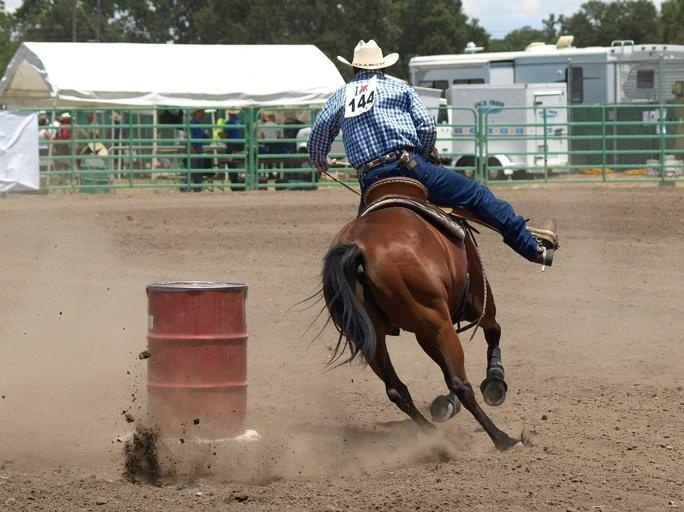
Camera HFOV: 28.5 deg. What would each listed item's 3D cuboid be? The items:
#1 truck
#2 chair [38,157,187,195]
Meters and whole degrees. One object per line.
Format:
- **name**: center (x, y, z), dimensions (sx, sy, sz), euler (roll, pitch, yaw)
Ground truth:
- **truck**: center (2.574, -2.734, 30.458), dimensions (4.772, 2.285, 1.739), euler (4, 9, 37)
- **chair**: center (-4.929, -1.667, 27.068), dimensions (3.394, 0.658, 0.679), euler (-1, 14, -13)
